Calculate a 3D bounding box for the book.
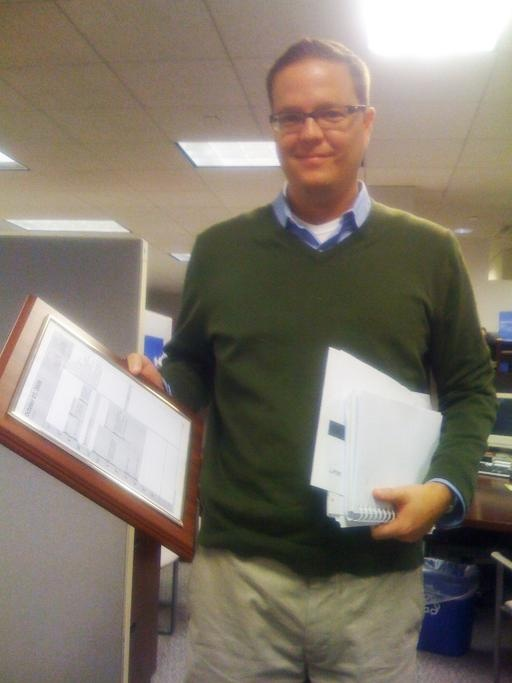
[{"bbox_3d":[0.130,0.120,0.706,0.209,0.225,0.057,14,-12,-43],"label":"book"}]
